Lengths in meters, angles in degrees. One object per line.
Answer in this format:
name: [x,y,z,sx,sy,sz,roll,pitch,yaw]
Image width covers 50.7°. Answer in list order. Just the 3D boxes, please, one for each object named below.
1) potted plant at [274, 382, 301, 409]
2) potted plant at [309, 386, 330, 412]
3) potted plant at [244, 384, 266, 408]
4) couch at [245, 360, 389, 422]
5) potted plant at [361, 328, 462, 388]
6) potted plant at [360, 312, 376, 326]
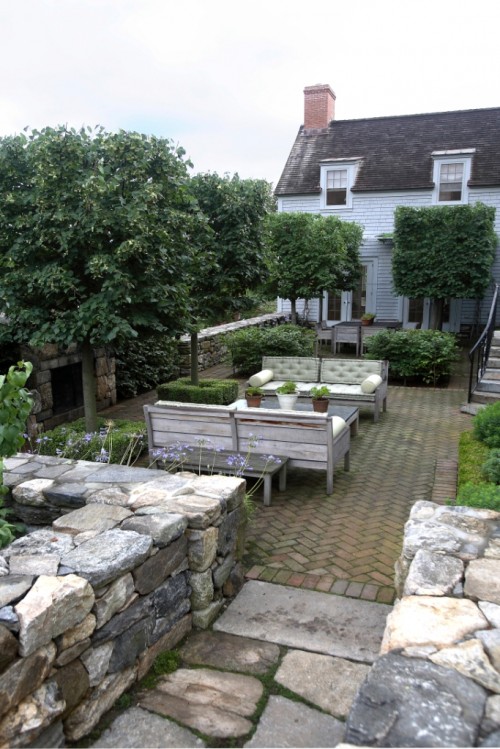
potted plant: [0.552,0.301,7.522,0.339,0.370,0.348,0,0,9]
potted plant: [1.014,0.343,7.257,0.298,0.405,0.292,1,3,-32]
potted plant: [0.068,0.304,7.419,0.260,0.289,0.261,0,0,-3]
couch: [1.164,0.220,9.199,2.216,0.937,0.900,3,10,23]
potted plant: [3.676,-0.551,11.900,1.787,1.223,1.427,0,15,11]
potted plant: [3.983,-1.870,17.798,0.535,0.405,0.472,-1,7,6]
